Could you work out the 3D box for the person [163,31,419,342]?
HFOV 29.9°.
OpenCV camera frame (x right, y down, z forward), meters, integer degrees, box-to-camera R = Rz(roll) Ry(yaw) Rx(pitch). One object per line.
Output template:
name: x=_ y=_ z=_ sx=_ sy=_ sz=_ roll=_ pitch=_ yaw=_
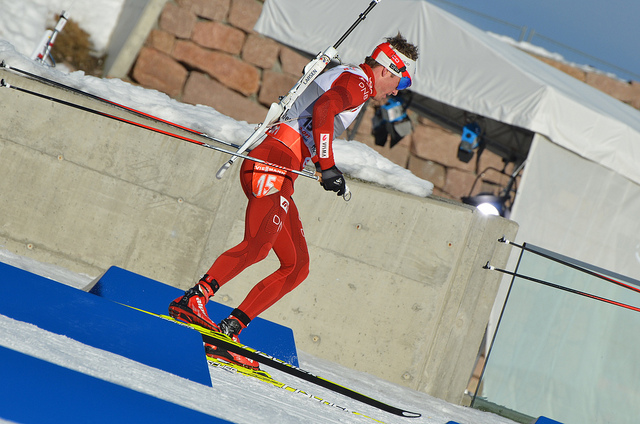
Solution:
person: x=-0.249 y=-0.326 z=13.011 sx=1.296 sy=3.944 sz=0.682 roll=32 pitch=3 yaw=-9
